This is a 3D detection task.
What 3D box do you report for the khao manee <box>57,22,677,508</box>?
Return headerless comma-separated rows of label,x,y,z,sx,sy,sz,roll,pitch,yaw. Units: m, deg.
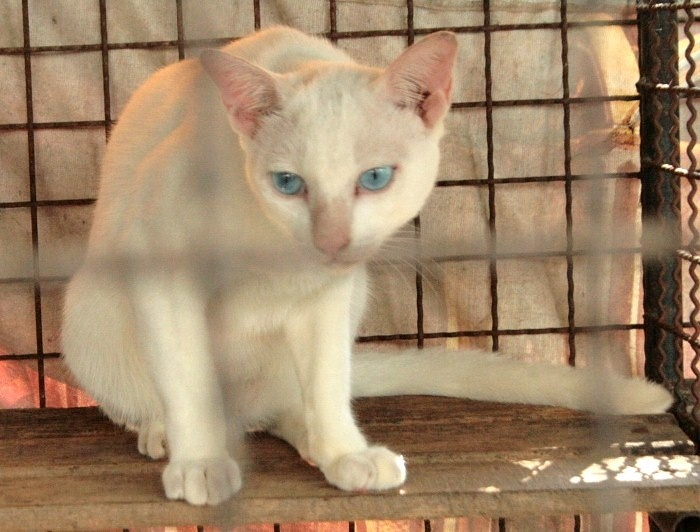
khao manee,-0.011,-0.029,3.230,1.508,1.026,1.261,-2,5,-33
